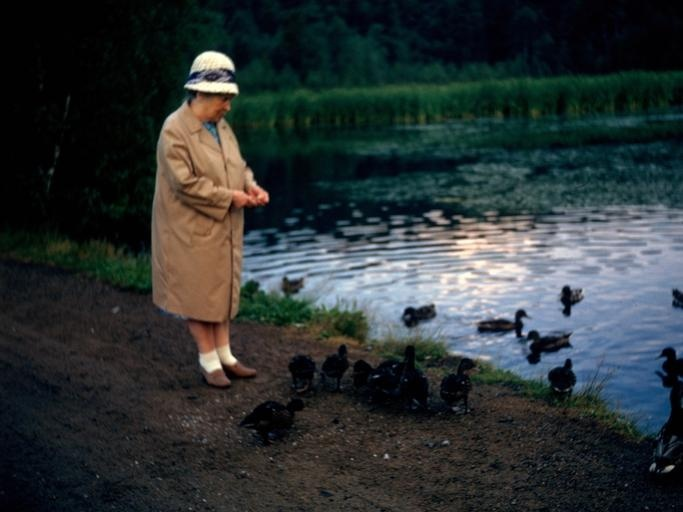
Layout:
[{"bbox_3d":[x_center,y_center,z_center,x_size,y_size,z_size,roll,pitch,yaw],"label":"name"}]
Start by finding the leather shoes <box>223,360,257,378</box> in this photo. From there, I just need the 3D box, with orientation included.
[{"bbox_3d":[-1.612,1.725,13.904,0.477,0.196,0.230,3,12,0],"label":"leather shoes"}]

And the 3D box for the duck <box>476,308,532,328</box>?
[{"bbox_3d":[3.113,1.219,16.998,0.958,0.565,0.357,-3,14,1],"label":"duck"}]

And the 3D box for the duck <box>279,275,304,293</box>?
[{"bbox_3d":[-1.077,0.600,19.043,0.355,0.241,0.363,-4,17,1],"label":"duck"}]

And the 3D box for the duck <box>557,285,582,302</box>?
[{"bbox_3d":[4.513,0.734,17.291,0.219,0.303,0.596,-7,13,-31],"label":"duck"}]

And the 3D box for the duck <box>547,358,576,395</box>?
[{"bbox_3d":[3.580,1.912,14.176,0.265,0.458,0.344,13,11,-37],"label":"duck"}]

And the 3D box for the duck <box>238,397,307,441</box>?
[{"bbox_3d":[-1.041,2.276,12.823,1.009,0.641,0.389,-2,0,-21],"label":"duck"}]

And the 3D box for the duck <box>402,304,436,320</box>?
[{"bbox_3d":[1.606,1.064,17.523,0.474,0.153,0.318,-13,16,-36],"label":"duck"}]

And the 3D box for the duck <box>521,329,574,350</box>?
[{"bbox_3d":[3.796,1.478,16.146,0.585,0.271,0.330,-3,-1,26],"label":"duck"}]
